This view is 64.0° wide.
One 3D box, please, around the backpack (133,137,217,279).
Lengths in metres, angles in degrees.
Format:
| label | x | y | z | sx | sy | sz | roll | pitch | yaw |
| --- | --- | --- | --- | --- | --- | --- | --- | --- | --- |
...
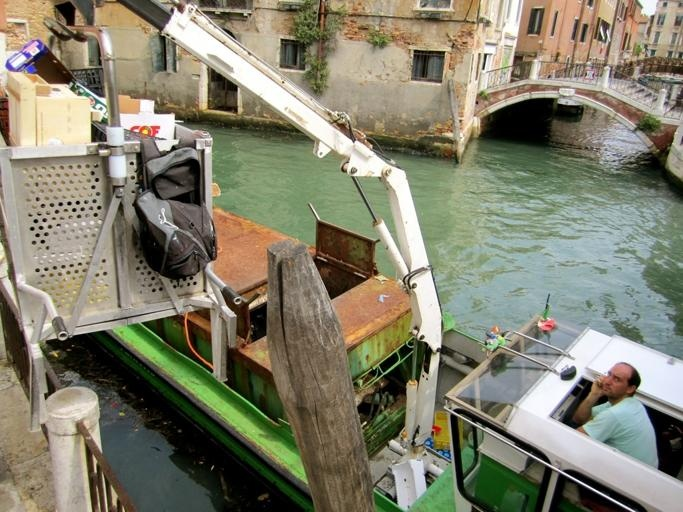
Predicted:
| label | x | y | z | sx | sy | sz | roll | pitch | yaw |
| --- | --- | --- | --- | --- | --- | --- | --- | --- | --- |
| backpack | -1.395 | -0.351 | 4.616 | 0.651 | 1.046 | 0.457 | -8 | 24 | -28 |

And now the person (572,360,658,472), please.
| label | x | y | z | sx | sy | sz | roll | pitch | yaw |
| --- | --- | --- | --- | --- | --- | --- | --- | --- | --- |
| person | 2.267 | 1.344 | 4.491 | 0.434 | 0.372 | 0.760 | -4 | 38 | 35 |
